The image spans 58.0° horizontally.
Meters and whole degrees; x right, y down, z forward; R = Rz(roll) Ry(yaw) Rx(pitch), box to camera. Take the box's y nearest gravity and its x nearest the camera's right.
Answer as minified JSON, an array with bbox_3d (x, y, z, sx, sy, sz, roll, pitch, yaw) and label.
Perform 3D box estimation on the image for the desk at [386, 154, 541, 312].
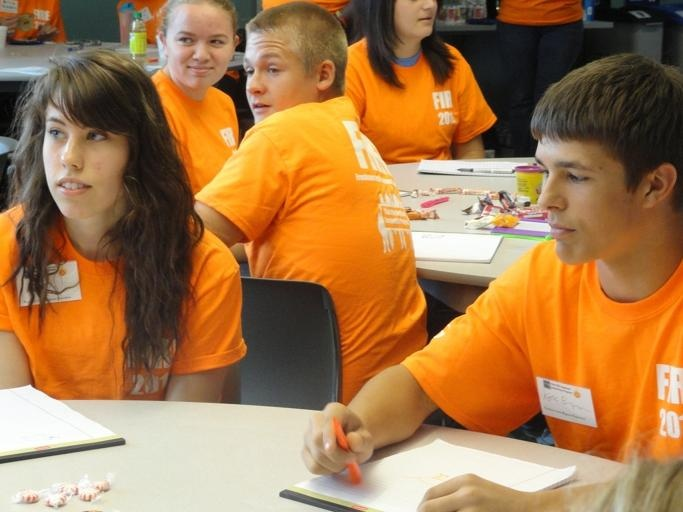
[{"bbox_3d":[0.470,0.007,2.405,0.565,0.174,0.773,-2,26,-5],"label":"desk"}]
